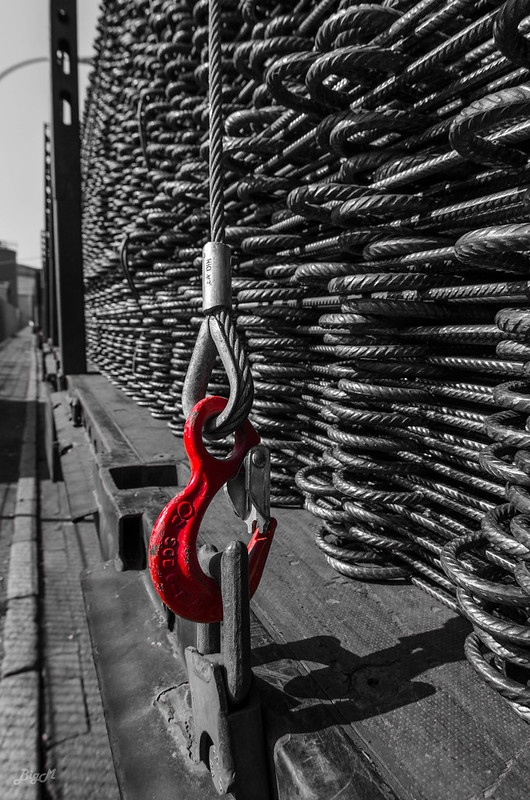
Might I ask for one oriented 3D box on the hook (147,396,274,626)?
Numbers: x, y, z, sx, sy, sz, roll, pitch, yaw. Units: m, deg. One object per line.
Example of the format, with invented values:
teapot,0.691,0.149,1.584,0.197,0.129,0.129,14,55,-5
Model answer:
hook,-0.097,0.216,1.038,0.145,0.449,0.189,2,10,15
